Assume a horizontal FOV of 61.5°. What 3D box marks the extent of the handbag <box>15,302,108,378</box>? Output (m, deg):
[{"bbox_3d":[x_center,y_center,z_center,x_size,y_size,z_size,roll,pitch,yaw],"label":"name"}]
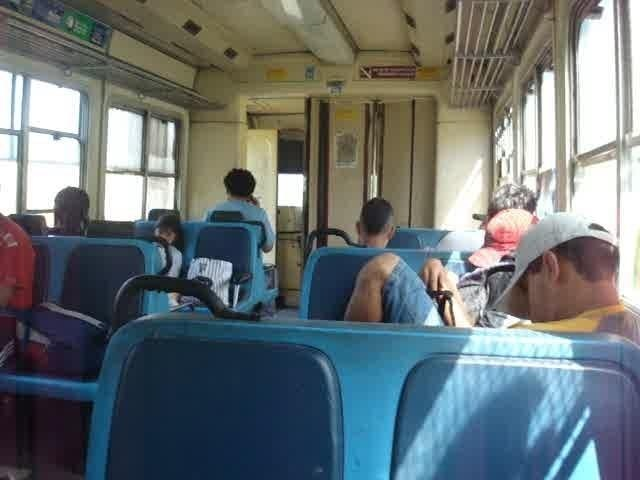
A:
[{"bbox_3d":[-1.047,0.414,2.222,0.299,0.321,0.215,2,-2,-11],"label":"handbag"}]
